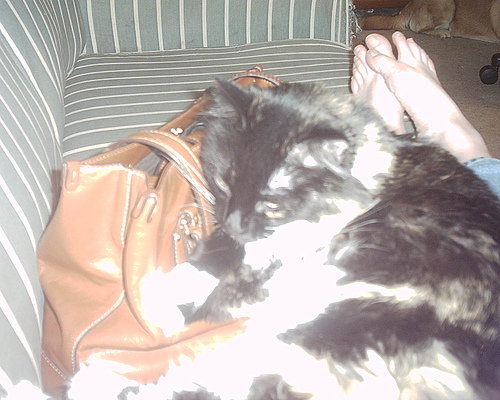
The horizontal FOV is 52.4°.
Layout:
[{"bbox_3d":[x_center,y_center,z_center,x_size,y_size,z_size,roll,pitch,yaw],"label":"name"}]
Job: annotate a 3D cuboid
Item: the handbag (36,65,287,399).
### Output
[{"bbox_3d":[-0.265,0.129,1.561,0.384,0.685,0.768,19,32,33],"label":"handbag"}]
